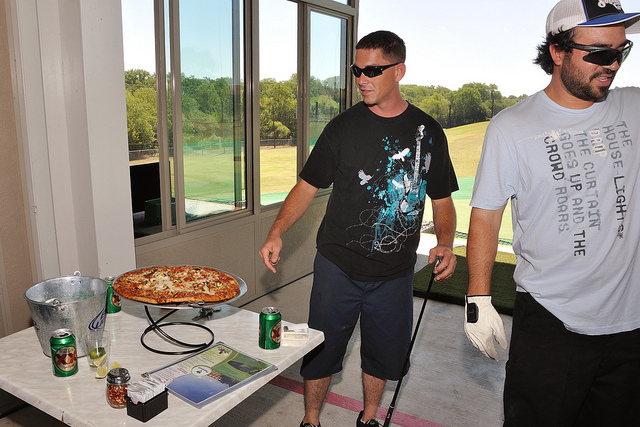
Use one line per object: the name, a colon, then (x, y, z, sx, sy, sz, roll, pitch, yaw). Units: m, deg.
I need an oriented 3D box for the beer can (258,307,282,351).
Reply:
beer can: (-0.233, 0.537, 1.895, 0.106, 0.181, 0.104, 4, 8, -1)

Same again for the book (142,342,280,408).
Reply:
book: (-0.455, 0.661, 1.703, 0.444, 0.065, 0.348, 5, 13, 25)

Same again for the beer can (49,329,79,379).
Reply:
beer can: (-1.067, 0.581, 1.703, 0.103, 0.191, 0.106, 3, 12, -1)
